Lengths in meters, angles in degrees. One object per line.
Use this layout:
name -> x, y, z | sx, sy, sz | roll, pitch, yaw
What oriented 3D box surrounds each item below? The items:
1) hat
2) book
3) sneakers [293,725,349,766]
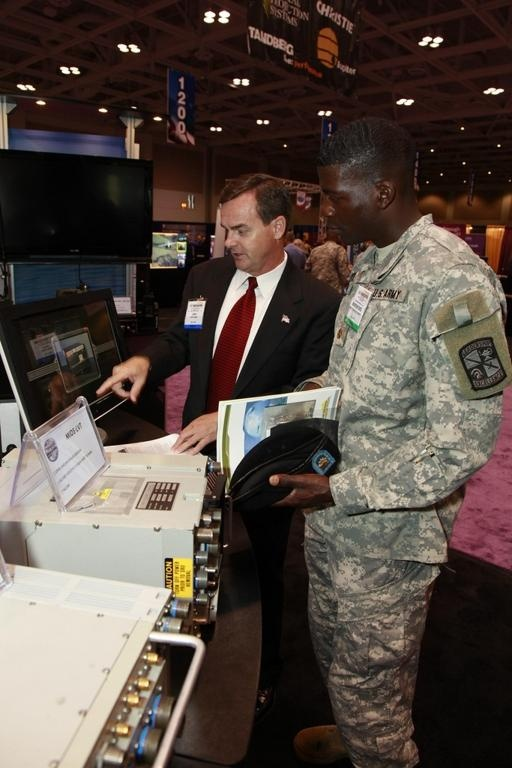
hat -> 0.049, 0.149, 1.032 | 0.196, 0.073, 0.156 | -30, -7, 7
book -> 0.046, 0.079, 1.071 | 0.212, 0.204, 0.056 | -3, 26, -16
sneakers -> 0.180, 1.027, 1.553 | 0.217, 0.073, 0.082 | -1, -28, 5
